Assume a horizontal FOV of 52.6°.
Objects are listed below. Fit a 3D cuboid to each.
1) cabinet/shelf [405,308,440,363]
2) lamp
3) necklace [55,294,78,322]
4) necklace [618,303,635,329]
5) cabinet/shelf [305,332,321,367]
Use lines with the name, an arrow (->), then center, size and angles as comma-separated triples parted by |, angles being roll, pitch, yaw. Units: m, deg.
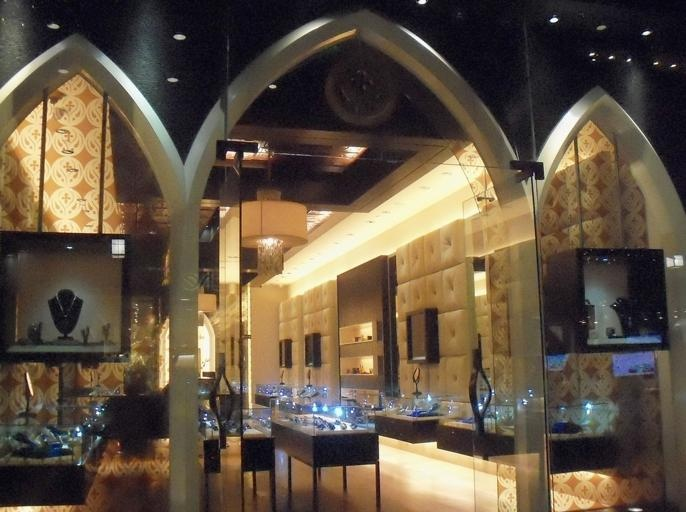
cabinet/shelf -> 0.826, 0.876, 7.306 | 0.186, 0.618, 0.410 | -26, -26, 35
lamp -> -0.611, -0.119, 5.854 | 0.542, 0.598, 0.571 | -2, -9, -2
necklace -> -1.791, 0.331, 4.542 | 0.120, 0.170, 0.064 | 3, 8, -12
necklace -> 2.164, 0.464, 5.314 | 0.106, 0.224, 0.028 | -5, -13, 24
cabinet/shelf -> -0.275, 0.860, 6.341 | 0.099, 0.309, 0.165 | 3, -10, -29
